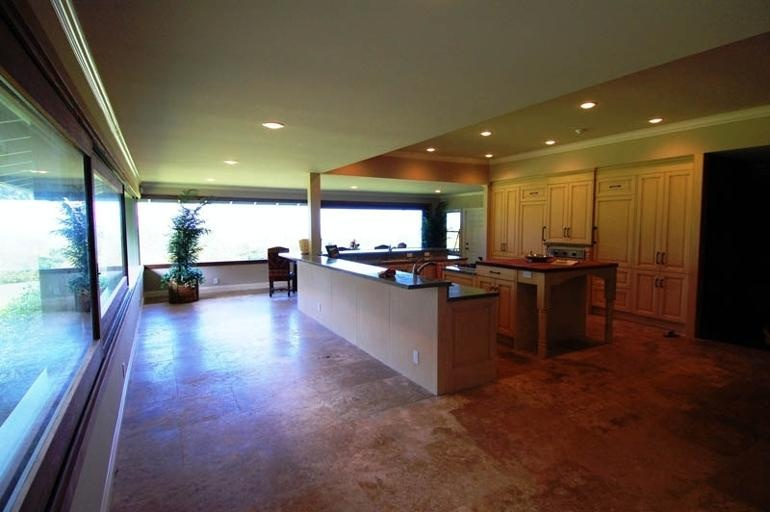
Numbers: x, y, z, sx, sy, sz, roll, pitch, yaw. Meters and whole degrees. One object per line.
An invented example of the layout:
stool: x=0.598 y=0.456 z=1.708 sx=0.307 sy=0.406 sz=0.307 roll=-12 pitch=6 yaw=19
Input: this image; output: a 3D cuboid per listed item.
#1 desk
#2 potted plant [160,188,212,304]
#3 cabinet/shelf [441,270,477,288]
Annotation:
desk: x=2.115 y=0.499 z=5.893 sx=1.448 sy=1.073 sz=1.044 roll=-2 pitch=1 yaw=-31
potted plant: x=-3.916 y=-0.181 z=9.293 sx=0.901 sy=2.039 sz=1.418 roll=-1 pitch=4 yaw=-11
cabinet/shelf: x=1.056 y=0.297 z=6.650 sx=0.223 sy=0.206 sz=0.731 roll=-1 pitch=3 yaw=-13
